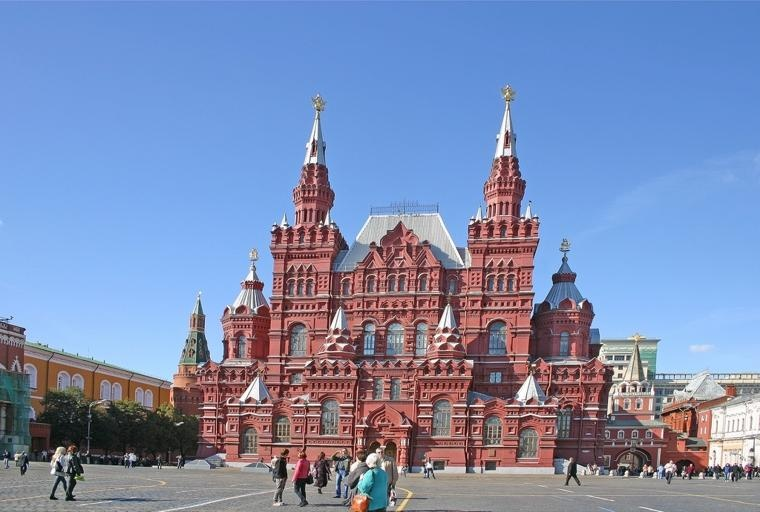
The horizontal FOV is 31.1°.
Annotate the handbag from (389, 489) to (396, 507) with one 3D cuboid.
[{"bbox_3d":[1.123,22.149,124.315,0.512,1.490,0.634,-8,-19,28],"label":"handbag"}]
